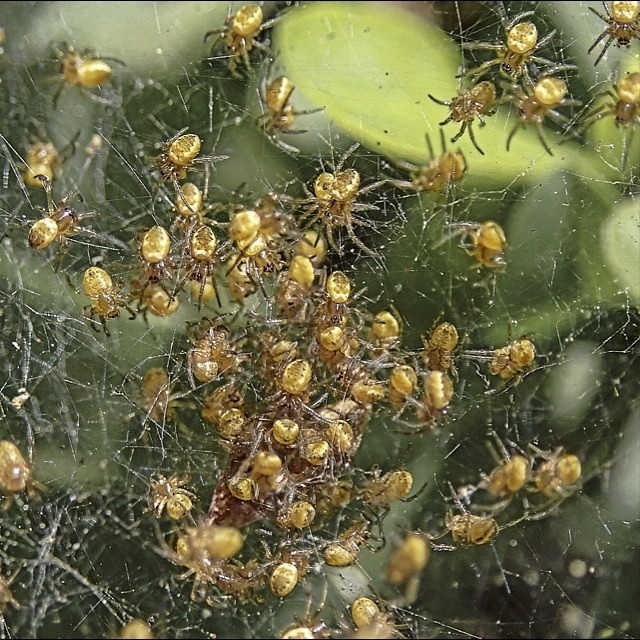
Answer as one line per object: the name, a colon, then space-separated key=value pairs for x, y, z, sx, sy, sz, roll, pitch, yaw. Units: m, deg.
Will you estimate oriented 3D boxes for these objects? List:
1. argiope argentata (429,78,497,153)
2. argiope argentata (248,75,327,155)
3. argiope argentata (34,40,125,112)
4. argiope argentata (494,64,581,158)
argiope argentata: x=0.468 y=-0.642 z=2.355 sx=0.237 sy=0.165 sz=0.067 roll=-38 pitch=1 yaw=42
argiope argentata: x=-0.109 y=-0.650 z=2.361 sx=0.260 sy=0.234 sz=0.111 roll=30 pitch=18 yaw=-10
argiope argentata: x=-0.768 y=-0.780 z=2.424 sx=0.240 sy=0.209 sz=0.076 roll=23 pitch=-7 yaw=17
argiope argentata: x=0.638 y=-0.609 z=2.183 sx=0.267 sy=0.222 sz=0.070 roll=18 pitch=34 yaw=-1
